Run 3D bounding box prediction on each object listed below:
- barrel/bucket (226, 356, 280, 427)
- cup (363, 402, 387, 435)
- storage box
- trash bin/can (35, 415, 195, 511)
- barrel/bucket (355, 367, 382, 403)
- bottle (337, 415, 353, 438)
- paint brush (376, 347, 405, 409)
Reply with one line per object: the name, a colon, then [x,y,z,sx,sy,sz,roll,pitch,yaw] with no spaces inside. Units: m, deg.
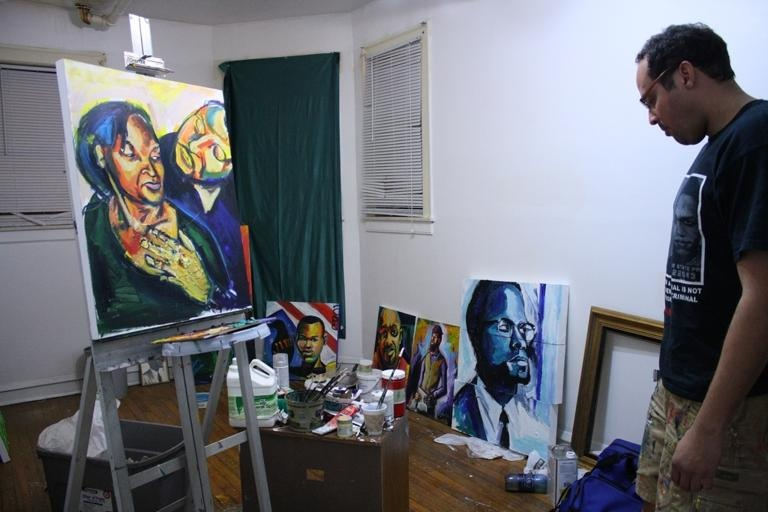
barrel/bucket: [-0.741,0.767,3.056,0.283,0.396,0.369,0,6,-12]
cup: [-0.046,0.865,2.861,0.131,0.148,0.143,-1,-9,0]
storage box: [-1.516,1.161,3.153,0.824,0.459,0.575,-1,-6,19]
trash bin/can: [-1.515,1.110,3.170,0.835,0.501,0.570,-2,-6,20]
barrel/bucket: [-0.100,0.812,3.360,0.157,0.157,0.153,-1,-5,0]
bottle: [-0.205,0.928,2.946,0.089,0.101,0.090,2,-4,-27]
paint brush: [0.052,0.653,3.135,0.039,0.074,0.545,-13,36,32]
